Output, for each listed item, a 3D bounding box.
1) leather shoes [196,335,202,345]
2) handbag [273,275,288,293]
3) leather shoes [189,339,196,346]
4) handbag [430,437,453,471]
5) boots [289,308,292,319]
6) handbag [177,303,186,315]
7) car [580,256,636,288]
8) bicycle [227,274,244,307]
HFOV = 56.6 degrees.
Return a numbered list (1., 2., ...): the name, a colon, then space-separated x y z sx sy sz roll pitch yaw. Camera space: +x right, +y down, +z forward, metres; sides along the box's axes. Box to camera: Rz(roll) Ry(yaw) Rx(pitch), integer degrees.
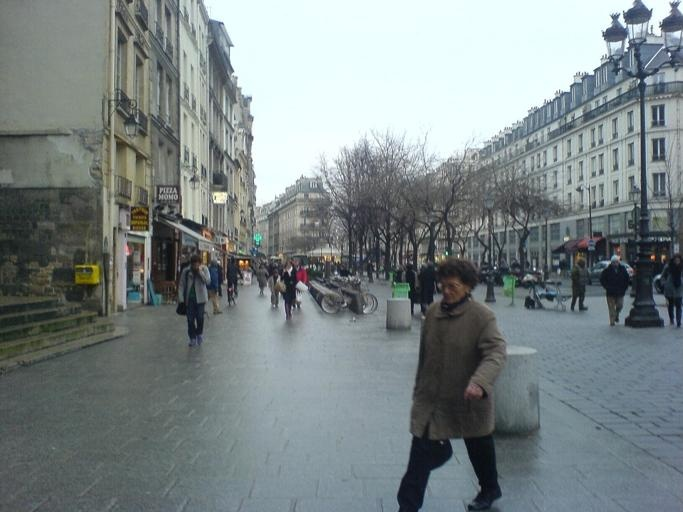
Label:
1. leather shoes: -3.063 1.813 13.711 0.062 0.233 0.088 -3 -32 -6
2. handbag: -2.096 1.048 21.679 0.267 0.667 0.810 -6 -22 -7
3. leather shoes: -3.176 1.856 13.575 0.066 0.176 0.222 0 -8 -8
4. handbag: 0.925 1.784 5.753 0.109 0.258 0.290 0 -1 34
5. boots: -1.563 1.764 19.328 0.098 0.287 0.326 0 -1 -3
6. handbag: -3.461 1.143 13.760 0.168 0.282 0.571 1 -1 -15
7. car: 11.626 0.687 27.531 1.173 1.304 2.302 -1 8 -3
8. bicycle: -4.905 1.641 29.373 0.587 1.156 2.170 11 -4 -5
